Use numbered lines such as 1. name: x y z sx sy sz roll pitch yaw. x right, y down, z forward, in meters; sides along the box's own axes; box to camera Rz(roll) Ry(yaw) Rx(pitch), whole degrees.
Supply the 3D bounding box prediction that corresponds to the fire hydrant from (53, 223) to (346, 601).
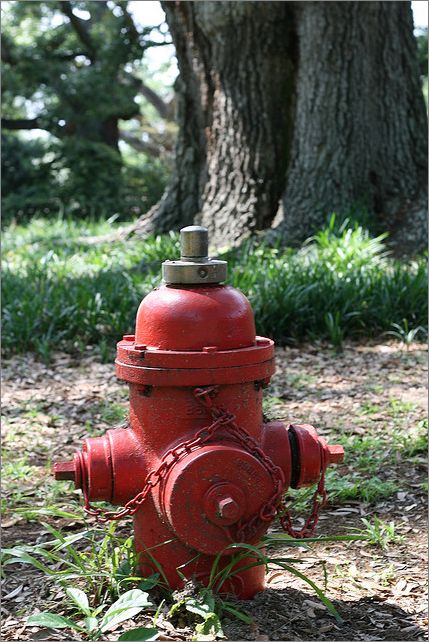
1. fire hydrant: -0.058 0.280 2.113 0.851 1.128 0.431 1 2 9
